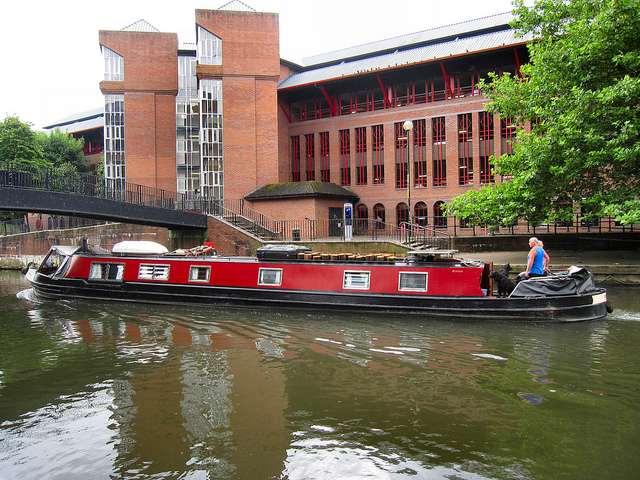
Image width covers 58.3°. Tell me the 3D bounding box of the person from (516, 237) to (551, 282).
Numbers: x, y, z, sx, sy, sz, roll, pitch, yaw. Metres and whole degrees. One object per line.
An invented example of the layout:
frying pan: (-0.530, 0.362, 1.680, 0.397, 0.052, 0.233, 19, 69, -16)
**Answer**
person: (6.421, 0.585, 17.357, 1.039, 1.357, 0.638, -4, 14, -3)

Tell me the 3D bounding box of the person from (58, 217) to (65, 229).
person: (-19.133, -1.244, 42.484, 0.930, 0.661, 0.215, -3, -15, 41)

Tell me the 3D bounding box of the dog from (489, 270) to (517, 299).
dog: (5.612, 1.386, 17.645, 0.796, 0.784, 0.350, 0, 14, 14)
